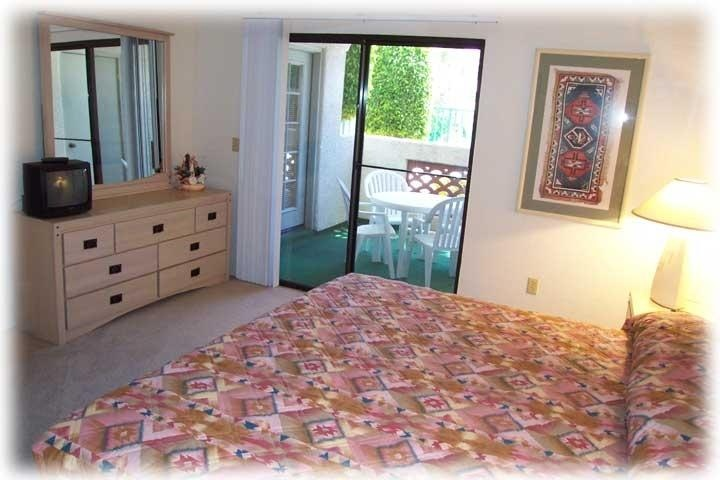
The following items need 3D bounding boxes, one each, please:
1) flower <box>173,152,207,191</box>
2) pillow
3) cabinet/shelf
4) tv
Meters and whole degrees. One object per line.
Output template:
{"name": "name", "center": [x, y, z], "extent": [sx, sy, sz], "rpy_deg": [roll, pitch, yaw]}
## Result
{"name": "flower", "center": [-1.637, -0.689, 5.002], "extent": [0.447, 0.364, 0.402], "rpy_deg": [-1, 9, -8]}
{"name": "pillow", "center": [1.495, 0.683, 2.401], "extent": [0.346, 0.104, 0.992], "rpy_deg": [-24, 18, 46]}
{"name": "cabinet/shelf", "center": [-2.082, 0.106, 4.544], "extent": [0.659, 0.952, 1.970], "rpy_deg": [12, 16, 22]}
{"name": "tv", "center": [-2.396, -0.403, 3.849], "extent": [0.393, 0.393, 0.454], "rpy_deg": [11, 16, 18]}
